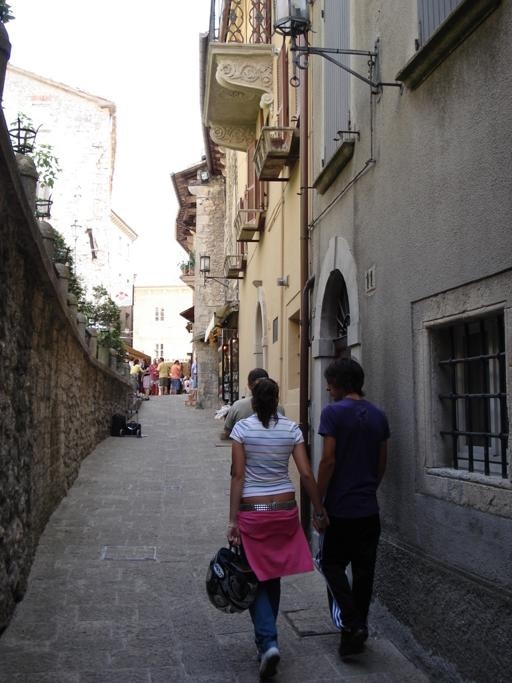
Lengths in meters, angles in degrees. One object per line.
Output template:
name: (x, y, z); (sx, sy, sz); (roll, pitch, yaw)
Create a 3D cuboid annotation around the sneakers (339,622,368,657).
sneakers: (0.492, 1.562, 3.498); (0.120, 0.216, 0.208); (1, -3, 0)

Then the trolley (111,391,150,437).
trolley: (-3.187, 1.954, 16.591); (0.644, 0.961, 0.560); (3, -21, -16)

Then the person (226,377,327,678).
person: (0.069, 0.925, 3.416); (0.414, 1.472, 0.458); (-1, -2, 36)

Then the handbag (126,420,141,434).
handbag: (-2.980, 2.121, 16.388); (0.330, 0.484, 0.241); (0, -29, 0)

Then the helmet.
helmet: (-0.154, 1.147, 3.414); (0.198, 0.336, 0.316); (12, 3, -14)

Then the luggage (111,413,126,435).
luggage: (-3.347, 2.034, 16.308); (0.411, 0.499, 0.401); (2, -3, -24)
